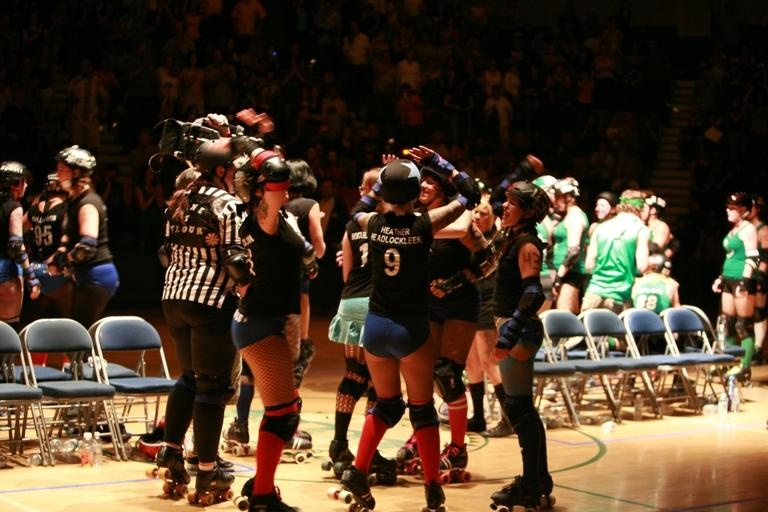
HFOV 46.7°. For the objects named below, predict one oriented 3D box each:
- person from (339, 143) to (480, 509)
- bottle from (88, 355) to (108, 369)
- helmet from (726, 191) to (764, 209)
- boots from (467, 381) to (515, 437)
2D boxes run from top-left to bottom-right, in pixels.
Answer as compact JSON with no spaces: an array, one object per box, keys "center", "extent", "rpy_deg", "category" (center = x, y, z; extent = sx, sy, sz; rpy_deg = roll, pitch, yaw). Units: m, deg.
[{"center":[0.230,0.619,7.981],"extent":[1.041,3.186,1.018],"rpy_deg":[2,8,5],"category":"person"},{"center":[-3.070,1.139,9.577],"extent":[0.189,0.086,0.251],"rpy_deg":[5,-10,-5],"category":"bottle"},{"center":[5.253,-0.811,12.968],"extent":[0.349,0.134,0.264],"rpy_deg":[6,-4,-2],"category":"helmet"},{"center":[1.122,1.763,10.050],"extent":[0.693,0.728,0.649],"rpy_deg":[-1,-1,5],"category":"boots"}]
